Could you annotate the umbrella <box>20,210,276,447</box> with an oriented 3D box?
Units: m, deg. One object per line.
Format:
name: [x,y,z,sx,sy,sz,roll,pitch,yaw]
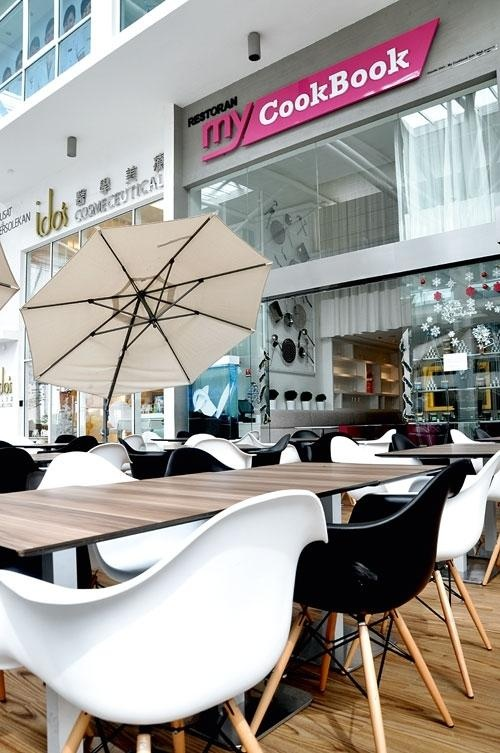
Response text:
umbrella: [-0.698,-0.415,3.822,1.610,1.030,1.487,0,-3,-2]

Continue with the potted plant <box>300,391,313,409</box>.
potted plant: [0.950,0.408,9.708,0.269,0.403,0.155,1,2,-6]

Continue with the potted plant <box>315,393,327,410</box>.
potted plant: [1.254,0.451,10.121,0.267,0.398,0.158,1,-1,5]

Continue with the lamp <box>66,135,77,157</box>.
lamp: [-3.128,-3.982,9.845,0.163,0.304,0.382,1,-3,-19]
